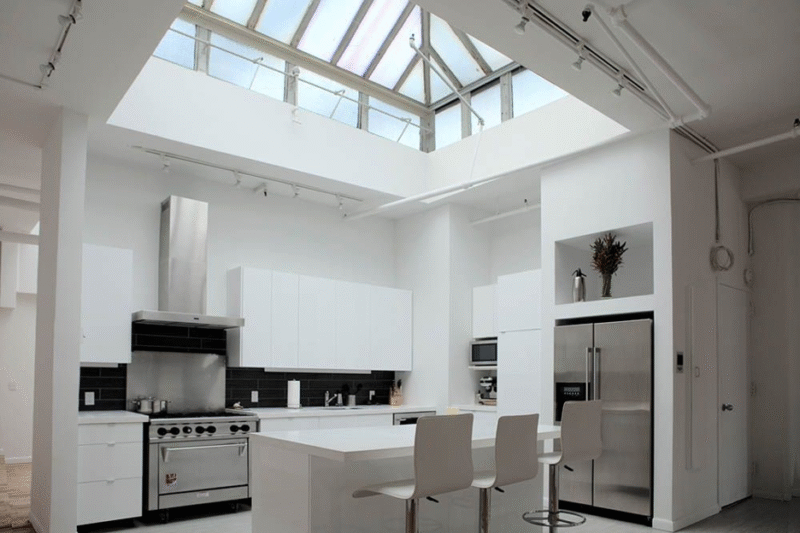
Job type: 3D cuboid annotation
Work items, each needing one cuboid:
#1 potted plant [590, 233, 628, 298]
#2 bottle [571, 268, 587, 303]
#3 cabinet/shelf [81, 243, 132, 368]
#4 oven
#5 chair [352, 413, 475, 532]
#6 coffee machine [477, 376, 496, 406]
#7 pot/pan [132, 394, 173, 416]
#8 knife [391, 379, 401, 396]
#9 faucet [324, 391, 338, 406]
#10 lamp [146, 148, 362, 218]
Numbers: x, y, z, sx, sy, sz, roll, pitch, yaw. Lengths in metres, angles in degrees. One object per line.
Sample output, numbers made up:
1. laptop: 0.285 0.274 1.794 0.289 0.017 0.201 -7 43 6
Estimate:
1. potted plant: 2.651 -0.002 7.523 0.409 0.705 0.405 0 1 36
2. bottle: 2.282 0.263 7.535 0.126 0.428 0.142 -6 -12 30
3. cabinet/shelf: -3.474 0.453 6.980 0.594 1.356 0.245 5 -12 -26
4. oven: -2.476 2.529 7.306 1.266 1.156 0.880 6 -28 -31
5. chair: 0.192 1.470 4.563 0.729 0.607 0.366 -1 -11 4
6. coffee machine: 1.331 1.939 9.102 0.324 0.411 0.403 13 -16 -41
7. pot/pan: -3.147 1.753 7.467 0.228 0.171 0.404 -1 -2 42
8. knife: -0.056 1.969 9.602 0.144 0.239 0.171 -1 -11 6
9. faucet: -1.048 2.028 8.966 0.198 0.301 0.155 2 -5 -32
10. lamp: -2.063 -1.063 8.561 3.406 0.286 0.472 17 14 -36
